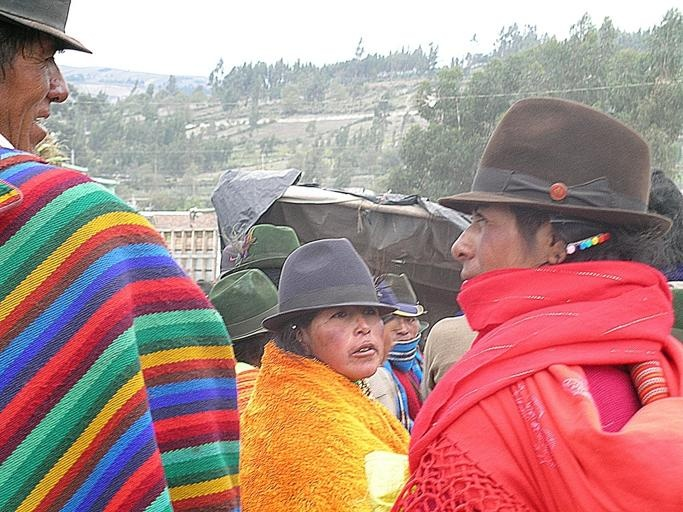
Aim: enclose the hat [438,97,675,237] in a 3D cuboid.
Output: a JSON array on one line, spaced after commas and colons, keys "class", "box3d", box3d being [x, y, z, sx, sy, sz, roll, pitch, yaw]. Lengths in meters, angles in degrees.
[{"class": "hat", "box3d": [0.619, -0.254, 2.246, 0.524, 0.214, 0.455, 11, -2, 24]}]
